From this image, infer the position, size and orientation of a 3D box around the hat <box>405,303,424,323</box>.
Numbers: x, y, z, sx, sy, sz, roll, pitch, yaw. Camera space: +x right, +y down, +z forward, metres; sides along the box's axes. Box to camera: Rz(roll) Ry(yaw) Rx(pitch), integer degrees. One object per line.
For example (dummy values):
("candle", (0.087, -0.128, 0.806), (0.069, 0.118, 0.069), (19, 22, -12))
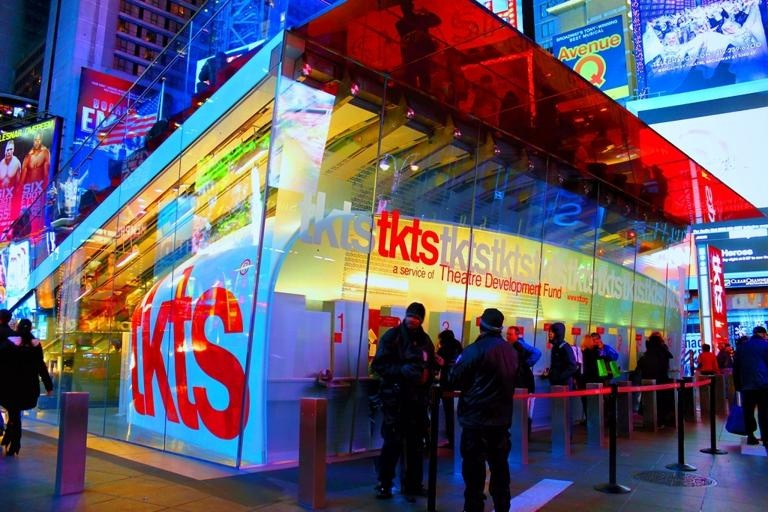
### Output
("hat", (0.516, 0.953, 9.656), (0.257, 0.285, 0.332), (20, -19, 17))

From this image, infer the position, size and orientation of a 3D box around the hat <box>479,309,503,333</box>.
("hat", (1.584, 0.944, 8.713), (0.297, 0.277, 0.371), (6, 11, 12))

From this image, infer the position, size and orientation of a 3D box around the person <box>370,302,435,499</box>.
("person", (0.316, 2.272, 9.443), (1.032, 3.014, 0.527), (2, -1, -9))
